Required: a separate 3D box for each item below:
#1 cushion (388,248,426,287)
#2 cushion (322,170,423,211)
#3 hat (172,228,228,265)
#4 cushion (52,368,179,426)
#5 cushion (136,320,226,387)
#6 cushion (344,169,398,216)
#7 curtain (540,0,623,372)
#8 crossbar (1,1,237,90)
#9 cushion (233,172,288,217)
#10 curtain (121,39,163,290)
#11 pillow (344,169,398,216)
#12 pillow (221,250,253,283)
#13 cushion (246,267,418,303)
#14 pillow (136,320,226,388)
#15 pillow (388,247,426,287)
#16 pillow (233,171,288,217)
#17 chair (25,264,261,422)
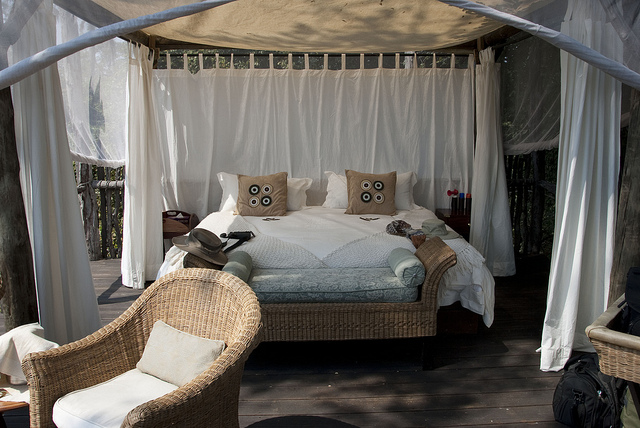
[{"bbox_3d":[0.798,0.455,4.583,0.254,0.248,0.532,-13,19,-1],"label":"cushion"},{"bbox_3d":[0.896,-0.354,6.504,1.000,0.470,0.318,-2,14,-38],"label":"cushion"},{"bbox_3d":[-1.117,0.290,4.563,0.473,0.288,0.504,-4,9,-18],"label":"hat"},{"bbox_3d":[-1.328,1.193,3.183,0.483,0.176,0.614,5,11,38],"label":"cushion"},{"bbox_3d":[-0.949,0.954,3.343,0.541,0.344,0.160,12,-21,25],"label":"cushion"},{"bbox_3d":[0.645,-0.264,6.294,0.549,0.495,0.200,1,-19,5],"label":"cushion"},{"bbox_3d":[2.251,-0.015,4.207,0.495,2.756,0.570,4,12,31],"label":"curtain"},{"bbox_3d":[-1.474,-1.162,3.365,1.490,0.543,0.136,-2,10,-3],"label":"crossbar"},{"bbox_3d":[-0.758,-0.243,6.263,0.532,0.473,0.200,-2,-26,3],"label":"cushion"},{"bbox_3d":[-2.124,-0.666,6.140,0.602,2.991,0.491,-4,-4,44],"label":"curtain"},{"bbox_3d":[0.646,-0.264,6.293,0.550,0.512,0.202,1,-19,6],"label":"pillow"},{"bbox_3d":[-0.756,0.477,4.485,0.207,0.200,0.569,-2,9,0],"label":"pillow"},{"bbox_3d":[0.110,0.642,4.529,1.527,0.248,0.387,-2,9,0],"label":"cushion"},{"bbox_3d":[-0.959,0.954,3.324,0.716,0.323,0.301,12,26,24],"label":"pillow"},{"bbox_3d":[0.827,0.497,4.572,0.252,0.253,0.537,-1,7,2],"label":"pillow"},{"bbox_3d":[-0.762,-0.243,6.265,0.535,0.477,0.206,-2,-26,2],"label":"pillow"},{"bbox_3d":[-1.025,0.972,3.274,1.120,1.001,1.305,9,6,30],"label":"chair"}]
